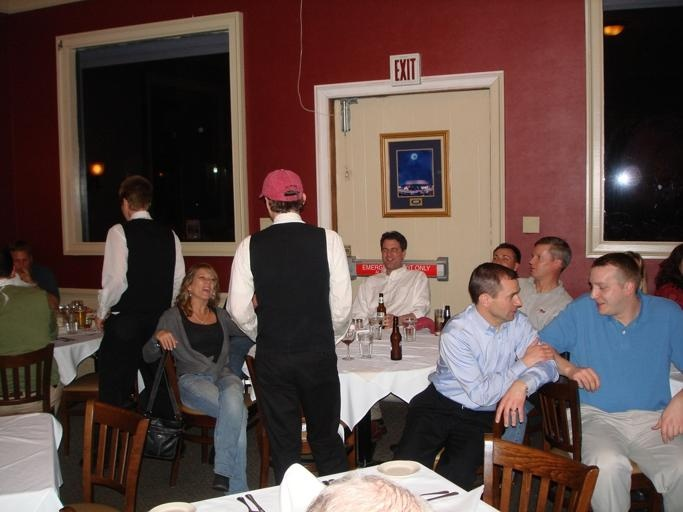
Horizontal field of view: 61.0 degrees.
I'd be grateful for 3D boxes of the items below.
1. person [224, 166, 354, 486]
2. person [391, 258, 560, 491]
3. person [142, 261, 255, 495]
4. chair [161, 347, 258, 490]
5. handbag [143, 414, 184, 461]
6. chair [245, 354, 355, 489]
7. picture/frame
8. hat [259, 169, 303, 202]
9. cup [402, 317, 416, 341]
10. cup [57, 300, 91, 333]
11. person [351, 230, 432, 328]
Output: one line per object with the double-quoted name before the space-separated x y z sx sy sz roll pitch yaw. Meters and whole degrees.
"person" -0.284 0.516 3.281 0.673 1.412 0.305 0 3 -13
"person" 0.777 0.998 3.645 0.788 2.062 0.581 11 24 14
"person" -0.912 0.811 4.088 0.930 1.609 0.817 2 -10 -42
"chair" -1.001 1.104 4.029 0.491 0.817 0.547 4 -7 -34
"handbag" -1.158 1.185 3.828 0.273 0.335 0.186 3 -8 8
"chair" -0.222 1.256 3.947 0.562 1.004 0.635 3 -22 0
"picture/frame" 0.740 -0.813 5.604 0.739 0.988 0.066 -1 0 18
"hat" -0.346 -0.418 3.332 0.151 0.142 0.225 -5 16 -21
"cup" 0.501 0.563 4.401 0.115 0.184 0.124 -2 4 0
"cup" -2.320 0.526 5.068 0.295 0.331 0.244 1 2 18
"person" 0.505 0.271 5.203 0.758 1.253 0.670 0 -5 15
